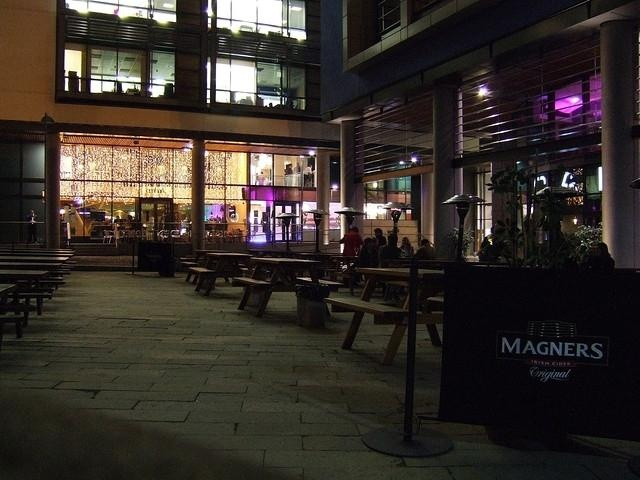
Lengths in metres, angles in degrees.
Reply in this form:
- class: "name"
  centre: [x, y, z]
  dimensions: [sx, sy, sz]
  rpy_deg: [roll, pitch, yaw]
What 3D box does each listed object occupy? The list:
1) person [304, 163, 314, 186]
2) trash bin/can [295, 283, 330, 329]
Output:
- class: "person"
  centre: [-0.700, -3.893, 37.813]
  dimensions: [0.709, 1.344, 0.239]
  rpy_deg: [1, 3, -8]
- class: "trash bin/can"
  centre: [-0.141, 1.216, 11.362]
  dimensions: [0.489, 0.920, 0.725]
  rpy_deg: [-1, 3, -36]
